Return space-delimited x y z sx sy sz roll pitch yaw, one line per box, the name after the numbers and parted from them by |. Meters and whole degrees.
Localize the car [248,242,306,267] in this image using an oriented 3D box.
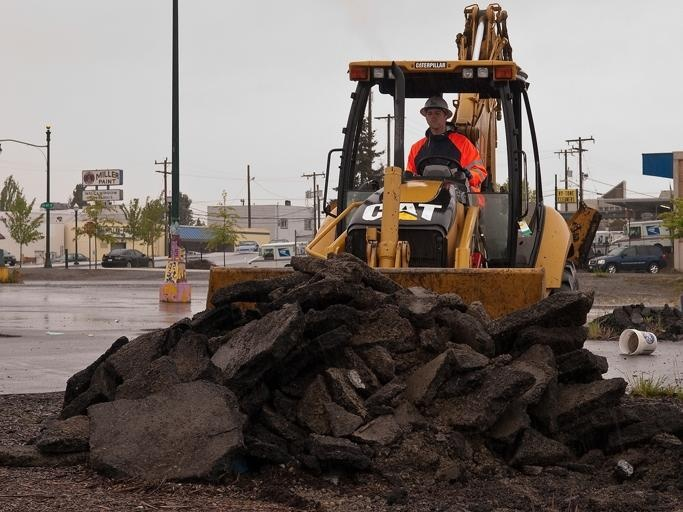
-3.275 -0.180 47.164 2.841 1.887 2.096 1 1 6 | car

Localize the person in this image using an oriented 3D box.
1.242 -1.200 12.417 1.260 1.998 1.080 0 -21 11 | person

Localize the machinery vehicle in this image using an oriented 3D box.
1.225 -1.306 13.233 2.784 4.587 6.506 0 -1 15 | machinery vehicle

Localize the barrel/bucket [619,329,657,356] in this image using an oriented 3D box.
4.012 1.162 12.698 0.472 0.365 0.610 3 0 17 | barrel/bucket

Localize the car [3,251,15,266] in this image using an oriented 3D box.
-22.428 0.100 63.215 0.967 0.856 2.302 0 -6 -19 | car

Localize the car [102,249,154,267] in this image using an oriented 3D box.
-13.037 0.159 56.835 1.307 1.102 2.939 1 2 43 | car
